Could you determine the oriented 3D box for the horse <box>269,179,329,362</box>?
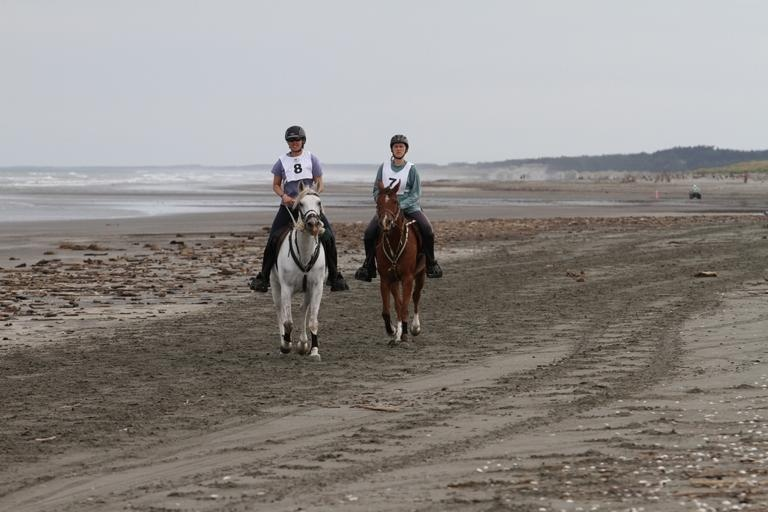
[{"bbox_3d":[-1.585,0.296,18.248,1.084,3.238,1.880,-5,13,-5],"label":"horse"}]

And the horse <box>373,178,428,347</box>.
[{"bbox_3d":[0.296,0.125,19.527,0.829,3.127,1.762,-2,13,7],"label":"horse"}]
